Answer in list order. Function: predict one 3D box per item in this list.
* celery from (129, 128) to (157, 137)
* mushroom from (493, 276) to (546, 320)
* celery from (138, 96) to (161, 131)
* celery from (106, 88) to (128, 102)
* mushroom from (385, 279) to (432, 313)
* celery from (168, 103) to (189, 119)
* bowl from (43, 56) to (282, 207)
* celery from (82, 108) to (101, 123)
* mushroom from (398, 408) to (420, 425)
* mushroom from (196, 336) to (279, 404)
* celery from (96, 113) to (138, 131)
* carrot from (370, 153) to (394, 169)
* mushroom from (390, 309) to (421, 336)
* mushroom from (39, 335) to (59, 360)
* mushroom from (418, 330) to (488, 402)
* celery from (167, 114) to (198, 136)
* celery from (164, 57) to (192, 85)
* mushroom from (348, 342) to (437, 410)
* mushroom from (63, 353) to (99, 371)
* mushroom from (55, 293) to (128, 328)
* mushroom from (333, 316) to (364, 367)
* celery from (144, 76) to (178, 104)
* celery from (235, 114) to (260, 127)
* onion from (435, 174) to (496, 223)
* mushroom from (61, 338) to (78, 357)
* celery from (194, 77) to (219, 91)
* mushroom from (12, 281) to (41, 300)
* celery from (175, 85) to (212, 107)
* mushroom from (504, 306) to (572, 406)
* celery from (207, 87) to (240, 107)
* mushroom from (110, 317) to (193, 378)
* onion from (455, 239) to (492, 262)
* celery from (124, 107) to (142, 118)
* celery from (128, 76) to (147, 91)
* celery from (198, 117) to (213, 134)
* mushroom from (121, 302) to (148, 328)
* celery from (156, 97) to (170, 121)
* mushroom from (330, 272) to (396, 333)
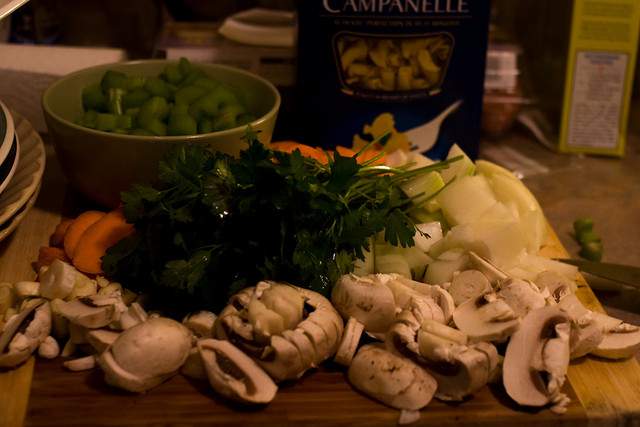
[{"bbox_3d":[-0.339,-0.157,1.020,0.030,0.009,0.029,5,2,-16],"label":"celery"},{"bbox_3d":[0.322,0.135,0.864,0.055,0.021,0.081,-41,59,-11],"label":"mushroom"},{"bbox_3d":[-0.336,-0.199,1.043,0.038,0.024,0.067,11,62,8],"label":"celery"},{"bbox_3d":[-0.413,-0.242,1.084,0.034,0.011,0.027,0,65,1],"label":"celery"},{"bbox_3d":[0.152,0.131,0.883,0.038,0.019,0.063,-20,39,-31],"label":"mushroom"},{"bbox_3d":[-0.277,-0.206,1.052,0.039,0.015,0.022,-29,70,-15],"label":"celery"},{"bbox_3d":[-0.313,-0.177,1.100,0.434,0.204,0.346,16,42,18],"label":"bowl"},{"bbox_3d":[-0.468,-0.202,1.085,0.035,0.013,0.036,14,41,21],"label":"celery"},{"bbox_3d":[0.130,0.299,0.779,0.029,0.015,0.020,10,41,12],"label":"mushroom"},{"bbox_3d":[-0.137,0.239,0.799,0.094,0.036,0.156,6,18,-48],"label":"mushroom"},{"bbox_3d":[-0.400,-0.182,1.049,0.076,0.023,0.042,-9,41,-11],"label":"celery"},{"bbox_3d":[0.127,-0.110,1.114,0.047,0.034,0.035,11,74,-21],"label":"carrot"},{"bbox_3d":[0.138,0.178,0.840,0.052,0.048,0.042,3,-3,-12],"label":"mushroom"},{"bbox_3d":[-0.430,0.210,0.840,0.025,0.034,0.014,-2,-2,-13],"label":"mushroom"},{"bbox_3d":[0.198,0.232,0.778,0.102,0.081,0.035,-5,17,25],"label":"mushroom"},{"bbox_3d":[-0.266,-0.171,1.025,0.045,0.031,0.026,-8,21,21],"label":"celery"},{"bbox_3d":[-0.299,-0.300,1.124,0.057,0.023,0.052,-35,96,-24],"label":"celery"},{"bbox_3d":[0.105,0.246,0.789,0.105,0.036,0.078,33,71,29],"label":"mushroom"},{"bbox_3d":[-0.369,0.233,0.823,0.044,0.011,0.029,-5,78,-7],"label":"mushroom"},{"bbox_3d":[-0.357,0.141,0.813,0.067,0.024,0.058,-17,37,-27],"label":"mushroom"},{"bbox_3d":[0.046,0.198,0.832,0.016,0.065,0.061,18,51,4],"label":"mushroom"},{"bbox_3d":[-0.328,-0.257,1.085,0.074,0.040,0.027,37,-3,-9],"label":"celery"},{"bbox_3d":[-0.148,-0.186,1.068,0.031,0.023,0.038,-8,0,23],"label":"celery"},{"bbox_3d":[0.283,-0.021,1.070,0.098,0.026,0.090,-35,76,-5],"label":"onion"},{"bbox_3d":[-0.399,0.215,0.846,0.018,0.032,0.007,23,8,-7],"label":"mushroom"},{"bbox_3d":[-0.235,-0.271,1.099,0.041,0.011,0.025,13,50,9],"label":"celery"},{"bbox_3d":[-0.496,0.129,0.902,0.039,0.014,0.030,9,22,21],"label":"mushroom"},{"bbox_3d":[-0.255,-0.240,1.073,0.065,0.022,0.037,-16,65,-13],"label":"celery"},{"bbox_3d":[0.333,0.229,0.846,0.097,0.040,0.146,31,77,14],"label":"mushroom"},{"bbox_3d":[-0.197,-0.237,1.073,0.038,0.020,0.045,35,24,26],"label":"celery"},{"bbox_3d":[-0.247,0.197,0.782,0.097,0.055,0.075,-19,66,-24],"label":"mushroom"},{"bbox_3d":[0.271,0.066,0.934,0.046,0.014,0.035,7,30,-27],"label":"onion"},{"bbox_3d":[-0.375,-0.204,1.066,0.035,0.019,0.013,1,-2,33],"label":"celery"},{"bbox_3d":[-0.382,-0.274,1.103,0.038,0.015,0.029,3,41,5],"label":"celery"},{"bbox_3d":[-0.226,-0.174,1.047,0.029,0.016,0.039,-5,40,-6],"label":"celery"},{"bbox_3d":[-0.304,0.156,0.847,0.014,0.034,0.037,0,31,-37],"label":"mushroom"},{"bbox_3d":[-0.311,-0.207,1.053,0.029,0.040,0.022,-1,-7,-23],"label":"celery"},{"bbox_3d":[0.071,0.141,0.840,0.090,0.081,0.056,37,55,-3],"label":"mushroom"}]
